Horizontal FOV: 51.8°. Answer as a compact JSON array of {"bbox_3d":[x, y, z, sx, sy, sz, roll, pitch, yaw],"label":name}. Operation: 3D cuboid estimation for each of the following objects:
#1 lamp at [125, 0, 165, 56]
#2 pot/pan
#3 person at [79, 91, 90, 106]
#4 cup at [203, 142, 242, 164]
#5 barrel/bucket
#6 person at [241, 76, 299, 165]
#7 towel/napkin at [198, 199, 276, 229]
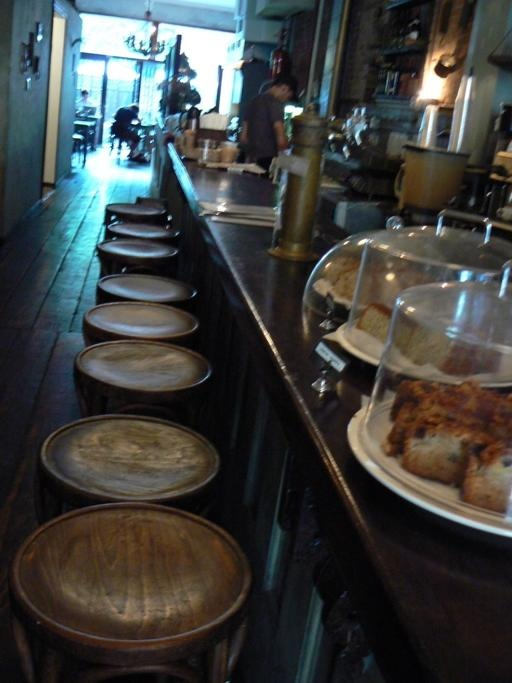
[{"bbox_3d":[-3.235,-9.185,15.846,1.098,1.631,1.067,-10,46,-25],"label":"lamp"},{"bbox_3d":[0.342,-0.332,1.103,0.141,0.106,0.137,29,31,32],"label":"pot/pan"},{"bbox_3d":[-5.800,-8.225,17.758,0.287,0.483,1.055,0,21,-19],"label":"person"},{"bbox_3d":[-0.280,-1.446,4.148,0.335,0.140,0.233,-9,45,-13],"label":"cup"},{"bbox_3d":[0.343,-0.332,1.103,0.134,0.105,0.138,10,28,-5],"label":"barrel/bucket"},{"bbox_3d":[0.094,-2.209,5.214,0.465,0.906,0.909,7,20,-1],"label":"person"},{"bbox_3d":[-0.079,-0.521,2.126,0.310,0.042,0.415,6,20,-4],"label":"towel/napkin"}]
